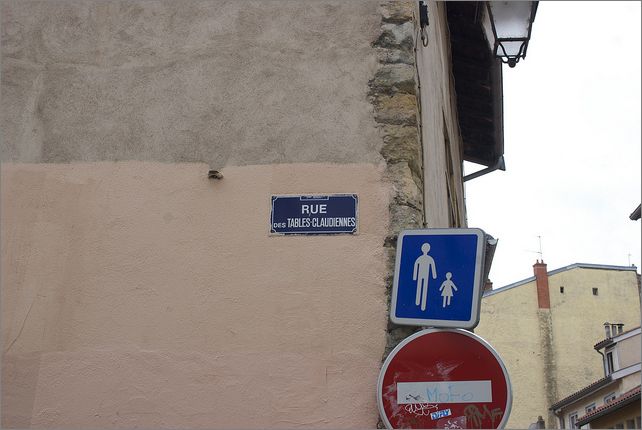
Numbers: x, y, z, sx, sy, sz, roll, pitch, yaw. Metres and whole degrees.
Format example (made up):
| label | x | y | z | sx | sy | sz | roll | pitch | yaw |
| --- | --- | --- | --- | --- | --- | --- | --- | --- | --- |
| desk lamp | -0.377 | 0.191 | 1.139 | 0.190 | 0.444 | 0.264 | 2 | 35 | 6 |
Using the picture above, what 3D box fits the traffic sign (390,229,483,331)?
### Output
| label | x | y | z | sx | sy | sz | roll | pitch | yaw |
| --- | --- | --- | --- | --- | --- | --- | --- | --- | --- |
| traffic sign | 0.947 | 0.521 | 7.774 | 0.787 | 0.901 | 0.120 | 1 | -17 | 13 |
